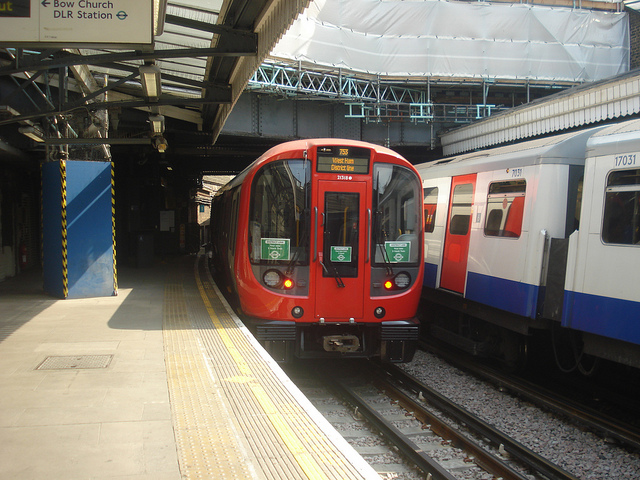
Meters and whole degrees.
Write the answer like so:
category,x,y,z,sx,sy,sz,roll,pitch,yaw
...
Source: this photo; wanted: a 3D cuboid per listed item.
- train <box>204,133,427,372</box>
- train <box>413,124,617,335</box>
category,x,y,z,sx,sy,sz,roll,pitch,yaw
train,0.155,0.213,8.772,3.027,3.808,1.025,0,5,4
train,3.388,-0.019,9.359,1.341,2.134,4.901,-1,6,-16
